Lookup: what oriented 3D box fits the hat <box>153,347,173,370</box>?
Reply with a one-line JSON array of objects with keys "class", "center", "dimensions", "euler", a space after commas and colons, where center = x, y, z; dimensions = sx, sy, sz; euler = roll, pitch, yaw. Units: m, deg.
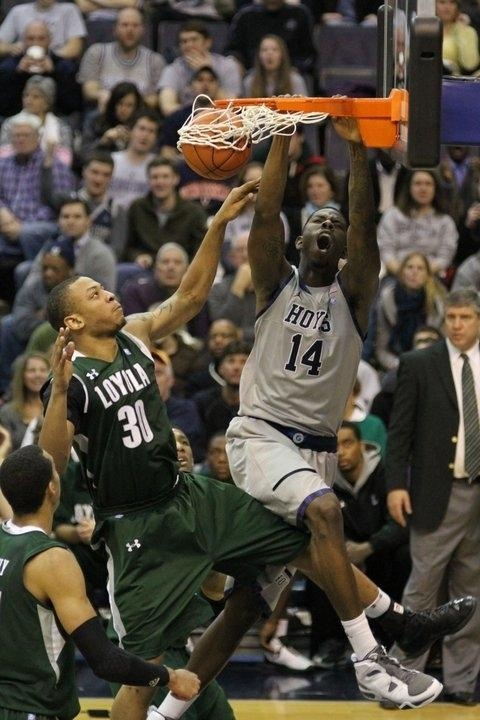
[{"class": "hat", "center": [-0.469, -0.018, 5.560], "dimensions": [0.103, 0.109, 0.127], "euler": [-3, 0, -5]}]

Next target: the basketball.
[{"class": "basketball", "center": [-0.068, -0.752, 3.319], "dimensions": [0.255, 0.293, 0.263], "euler": [14, -4, 3]}]

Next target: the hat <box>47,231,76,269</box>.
[{"class": "hat", "center": [-1.318, -0.817, 6.834], "dimensions": [0.186, 0.211, 0.257], "euler": [2, 21, 3]}]

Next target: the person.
[{"class": "person", "center": [0.017, 0.060, 3.204], "dimensions": [1.346, 2.261, 0.923], "euler": [-5, 17, 0]}]

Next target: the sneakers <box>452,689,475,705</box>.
[{"class": "sneakers", "center": [1.146, 1.699, 4.606], "dimensions": [0.044, 0.056, 0.127], "euler": [5, -11, -39]}]

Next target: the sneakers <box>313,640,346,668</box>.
[{"class": "sneakers", "center": [0.493, 1.593, 5.007], "dimensions": [0.221, 0.132, 0.099], "euler": [-1, 17, -18]}]
